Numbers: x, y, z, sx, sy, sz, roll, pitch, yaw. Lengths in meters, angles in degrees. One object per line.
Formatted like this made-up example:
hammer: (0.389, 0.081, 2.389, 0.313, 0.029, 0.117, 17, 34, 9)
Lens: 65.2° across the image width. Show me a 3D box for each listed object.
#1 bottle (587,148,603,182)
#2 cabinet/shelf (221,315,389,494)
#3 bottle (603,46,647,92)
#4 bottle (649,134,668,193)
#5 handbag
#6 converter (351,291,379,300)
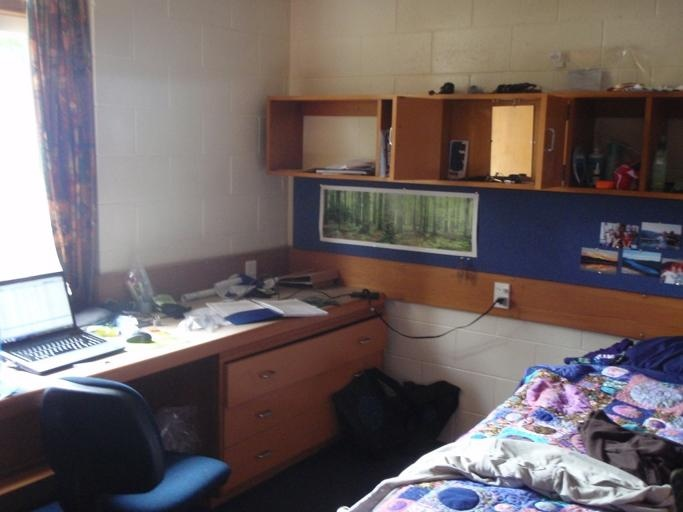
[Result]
bottle: (1.211, -0.429, 2.551, 0.047, 0.159, 0.057, -8, 14, -24)
cabinet/shelf: (-0.220, 0.816, 2.854, 0.843, 0.584, 0.348, -12, 15, -43)
bottle: (1.372, -0.919, 2.564, 0.181, 0.187, 0.097, 4, 14, 25)
bottle: (1.440, -0.418, 2.417, 0.061, 0.241, 0.089, 7, 16, 36)
handbag: (0.156, 0.868, 3.130, 0.375, 0.366, 0.135, -16, -22, -31)
converter: (0.141, 0.232, 3.203, 0.088, 0.030, 0.085, -1, 5, -20)
